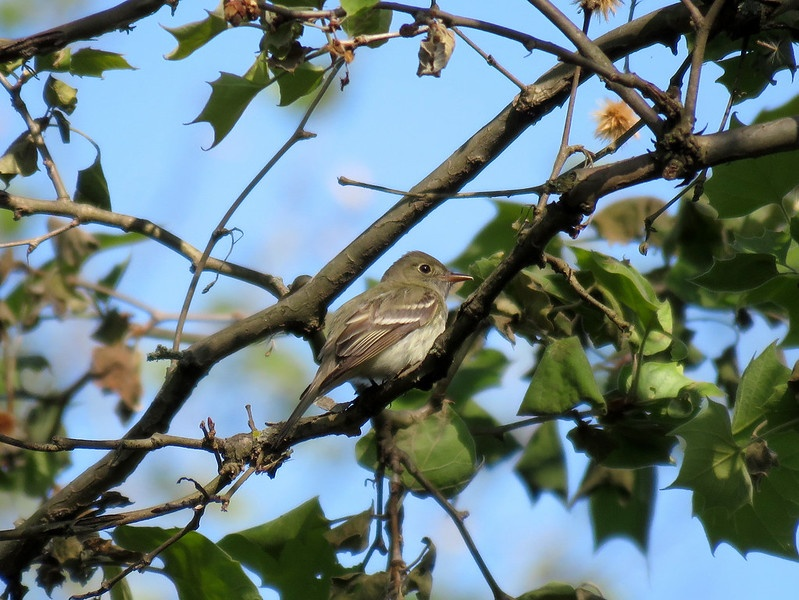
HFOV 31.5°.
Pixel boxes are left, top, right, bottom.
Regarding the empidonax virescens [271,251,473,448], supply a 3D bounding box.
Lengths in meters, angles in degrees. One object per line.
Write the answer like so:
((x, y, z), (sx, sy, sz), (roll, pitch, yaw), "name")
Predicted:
((-0.274, 0.296, 10.403), (0.693, 2.009, 0.979), (-20, -89, 60), "empidonax virescens")
